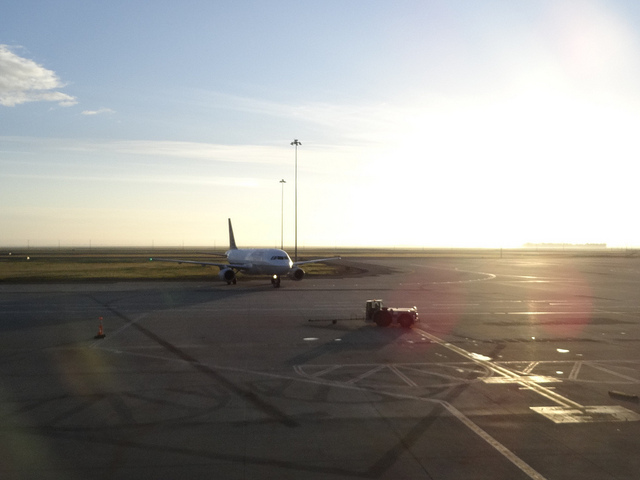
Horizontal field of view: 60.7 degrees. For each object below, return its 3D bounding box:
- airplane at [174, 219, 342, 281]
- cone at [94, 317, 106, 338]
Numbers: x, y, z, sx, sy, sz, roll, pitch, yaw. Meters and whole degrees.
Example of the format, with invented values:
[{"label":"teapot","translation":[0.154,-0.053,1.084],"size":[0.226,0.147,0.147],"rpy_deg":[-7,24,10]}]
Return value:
[{"label":"airplane","translation":[-8.578,1.191,68.021],"size":[24.611,8.737,24.926],"rpy_deg":[0,-2,-24]},{"label":"cone","translation":[-14.371,5.732,35.656],"size":[0.879,1.268,0.885],"rpy_deg":[0,-3,-3]}]
